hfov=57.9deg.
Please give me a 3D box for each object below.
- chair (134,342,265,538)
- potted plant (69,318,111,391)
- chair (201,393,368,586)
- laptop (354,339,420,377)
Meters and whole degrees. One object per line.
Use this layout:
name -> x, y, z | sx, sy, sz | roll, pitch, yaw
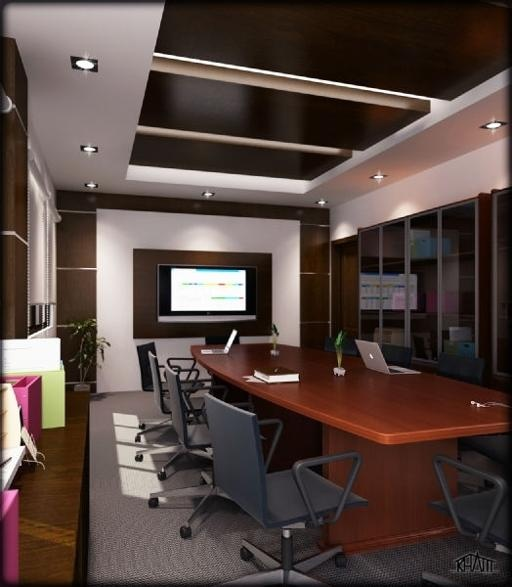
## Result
chair -> -0.415, 0.964, 3.243 | 0.771, 0.994, 0.850 | 0, 1, -11
potted plant -> -2.348, 0.851, 6.536 | 0.544, 0.953, 0.542 | 0, -1, -25
chair -> 0.138, 0.846, 2.348 | 0.748, 1.124, 0.811 | -2, 0, -22
laptop -> 0.960, 0.436, 3.496 | 0.282, 0.222, 0.327 | 2, -4, -17
